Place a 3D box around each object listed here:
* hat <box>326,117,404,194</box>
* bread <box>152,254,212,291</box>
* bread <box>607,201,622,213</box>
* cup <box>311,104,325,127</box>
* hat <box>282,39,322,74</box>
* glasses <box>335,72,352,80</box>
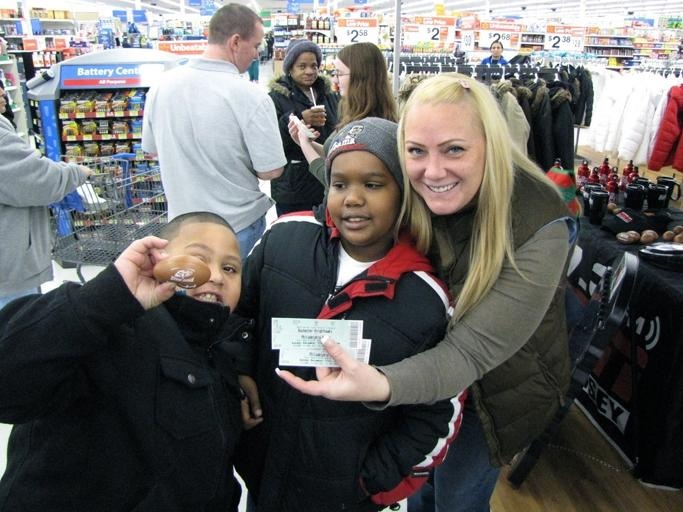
[{"bbox_3d":[0.086,-0.360,1.552,0.196,0.216,0.261,5,51,8],"label":"hat"},{"bbox_3d":[-0.403,0.041,1.182,0.121,0.078,0.073,7,62,-7],"label":"bread"},{"bbox_3d":[1.931,-0.338,3.304,0.090,0.063,0.114,2,12,7],"label":"bread"},{"bbox_3d":[-0.200,-1.110,3.671,0.150,0.112,0.138,1,4,0],"label":"cup"},{"bbox_3d":[-0.361,-1.687,3.999,0.283,0.282,0.298,2,10,-32],"label":"hat"},{"bbox_3d":[0.007,-1.333,3.443,0.112,0.035,0.107,1,10,-7],"label":"glasses"}]
